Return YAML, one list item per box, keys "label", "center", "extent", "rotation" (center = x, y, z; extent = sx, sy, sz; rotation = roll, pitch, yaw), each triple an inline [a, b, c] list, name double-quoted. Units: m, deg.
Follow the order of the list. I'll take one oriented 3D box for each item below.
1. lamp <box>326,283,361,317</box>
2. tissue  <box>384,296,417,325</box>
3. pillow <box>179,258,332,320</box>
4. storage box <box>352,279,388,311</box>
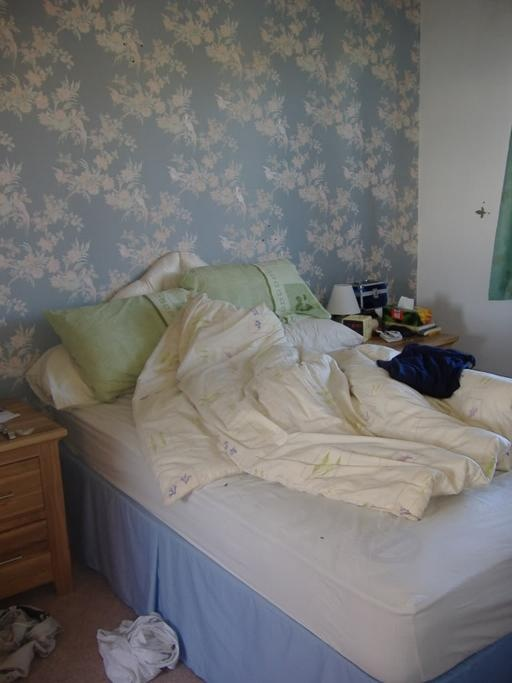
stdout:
- label: "lamp"
  center: [0.534, -0.261, 3.150]
  extent: [0.197, 0.137, 0.181]
  rotation: [8, 23, 40]
- label: "tissue "
  center: [0.936, -0.203, 3.305]
  extent: [0.185, 0.112, 0.183]
  rotation: [2, 10, 17]
- label: "pillow"
  center: [-0.002, -0.272, 2.569]
  extent: [0.484, 0.142, 0.381]
  rotation: [8, 11, -43]
- label: "storage box"
  center: [0.754, -0.298, 3.336]
  extent: [0.189, 0.194, 0.281]
  rotation: [5, 12, 40]
